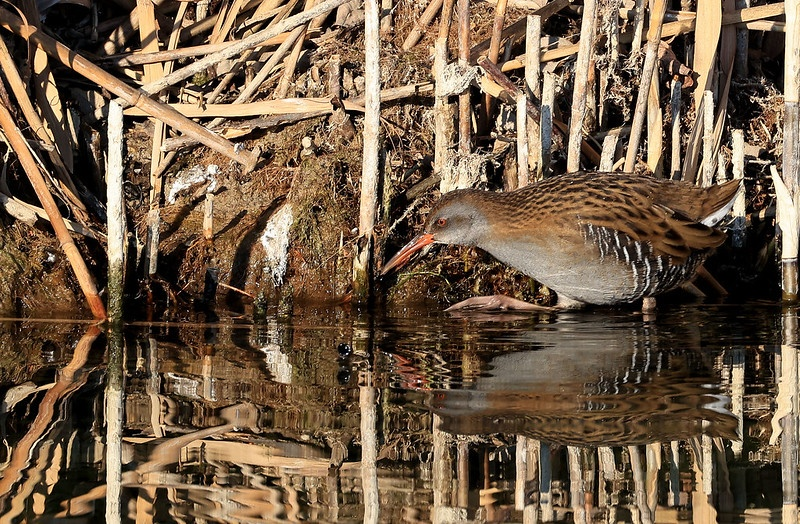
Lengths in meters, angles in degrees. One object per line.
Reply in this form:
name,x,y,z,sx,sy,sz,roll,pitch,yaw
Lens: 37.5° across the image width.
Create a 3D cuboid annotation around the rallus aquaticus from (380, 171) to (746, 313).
rallus aquaticus,1.315,-0.197,9.519,2.679,0.996,0.993,-3,11,4
